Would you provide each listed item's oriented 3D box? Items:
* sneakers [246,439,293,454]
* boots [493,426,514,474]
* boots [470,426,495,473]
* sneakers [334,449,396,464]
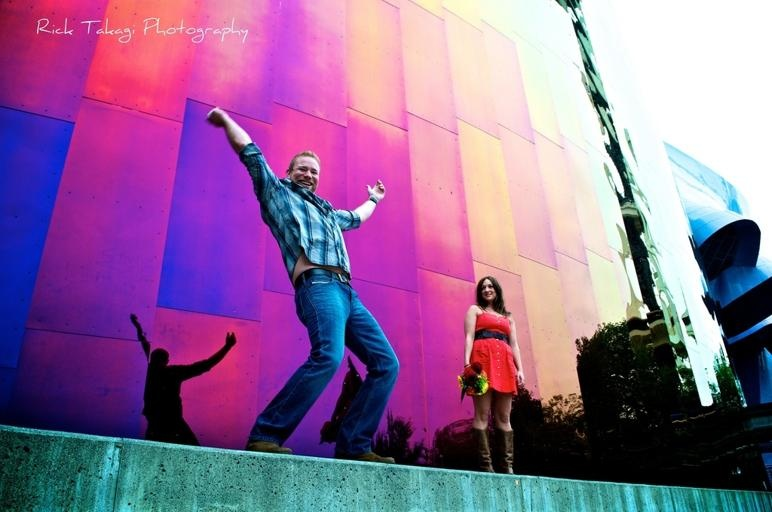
[{"bbox_3d":[-0.727,1.172,2.897,0.189,0.066,0.253,24,-33,-39],"label":"sneakers"},{"bbox_3d":[1.081,1.757,4.250,0.137,0.351,0.227,-7,-25,19],"label":"boots"},{"bbox_3d":[0.863,1.699,4.139,0.174,0.343,0.224,6,-24,-9],"label":"boots"},{"bbox_3d":[-0.144,1.340,3.167,0.399,0.076,0.198,-20,-32,38],"label":"sneakers"}]
